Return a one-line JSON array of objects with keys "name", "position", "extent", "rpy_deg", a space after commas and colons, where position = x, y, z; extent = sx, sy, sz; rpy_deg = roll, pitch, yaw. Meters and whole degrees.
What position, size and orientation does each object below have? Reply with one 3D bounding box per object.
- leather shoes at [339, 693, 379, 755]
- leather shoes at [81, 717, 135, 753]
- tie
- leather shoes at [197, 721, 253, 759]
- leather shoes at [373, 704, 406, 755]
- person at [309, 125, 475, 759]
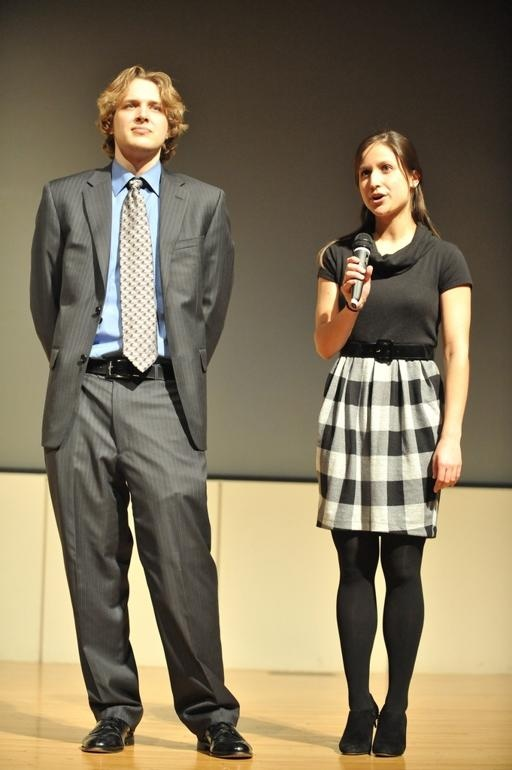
[{"name": "leather shoes", "position": [0.233, 0.770, 1.703], "extent": [0.050, 0.052, 0.135], "rpy_deg": [-7, 6, 18]}, {"name": "leather shoes", "position": [-0.322, 0.771, 1.663], "extent": [0.055, 0.046, 0.115], "rpy_deg": [0, -18, 9]}, {"name": "tie", "position": [-0.266, -0.260, 1.717], "extent": [0.099, 0.469, 0.053], "rpy_deg": [0, -13, 10]}, {"name": "leather shoes", "position": [-0.065, 0.774, 1.651], "extent": [0.102, 0.072, 0.156], "rpy_deg": [4, -12, -13]}, {"name": "leather shoes", "position": [0.303, 0.770, 1.678], "extent": [0.048, 0.048, 0.129], "rpy_deg": [-3, -4, 8]}, {"name": "person", "position": [0.313, 0.098, 1.774], "extent": [0.342, 1.456, 0.326], "rpy_deg": [6, -13, -16]}]
